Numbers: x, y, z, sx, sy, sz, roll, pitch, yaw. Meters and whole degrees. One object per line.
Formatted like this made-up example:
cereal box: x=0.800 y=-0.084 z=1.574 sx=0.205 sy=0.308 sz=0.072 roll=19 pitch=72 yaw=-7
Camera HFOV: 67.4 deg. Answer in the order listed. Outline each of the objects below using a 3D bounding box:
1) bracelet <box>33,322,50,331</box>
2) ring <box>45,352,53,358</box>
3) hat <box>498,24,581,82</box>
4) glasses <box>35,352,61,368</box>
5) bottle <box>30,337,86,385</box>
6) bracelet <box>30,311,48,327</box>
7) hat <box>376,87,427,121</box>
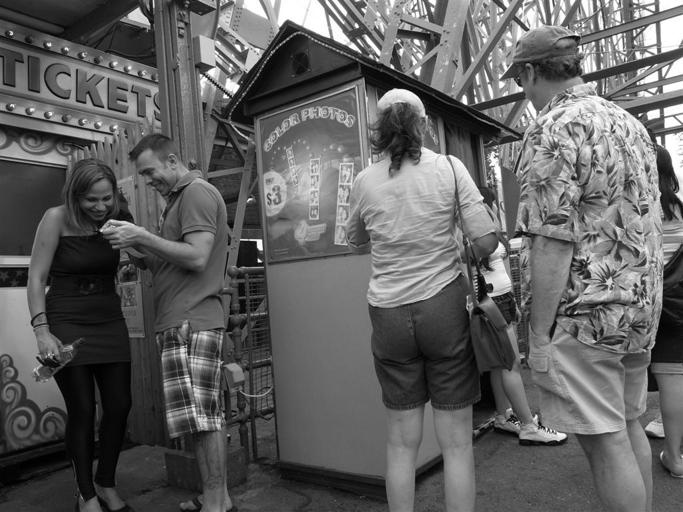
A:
bracelet: x=-1.989 y=0.460 z=3.385 sx=0.086 sy=0.068 sz=0.058 roll=-4 pitch=1 yaw=-32
ring: x=-1.892 y=0.644 z=3.318 sx=0.030 sy=0.031 sz=0.030 roll=2 pitch=-8 yaw=0
hat: x=1.000 y=-0.992 z=2.553 sx=0.301 sy=0.190 sz=0.214 roll=3 pitch=21 yaw=42
glasses: x=-1.914 y=0.678 z=3.353 sx=0.110 sy=0.064 sz=0.084 roll=6 pitch=3 yaw=-7
bottle: x=-1.865 y=0.652 z=3.468 sx=0.160 sy=0.183 sz=0.417 roll=29 pitch=39 yaw=23
bracelet: x=-2.022 y=0.424 z=3.413 sx=0.093 sy=0.078 sz=0.077 roll=-7 pitch=-4 yaw=42
hat: x=0.332 y=-0.863 z=2.863 sx=0.215 sy=0.142 sz=0.172 roll=12 pitch=19 yaw=16
